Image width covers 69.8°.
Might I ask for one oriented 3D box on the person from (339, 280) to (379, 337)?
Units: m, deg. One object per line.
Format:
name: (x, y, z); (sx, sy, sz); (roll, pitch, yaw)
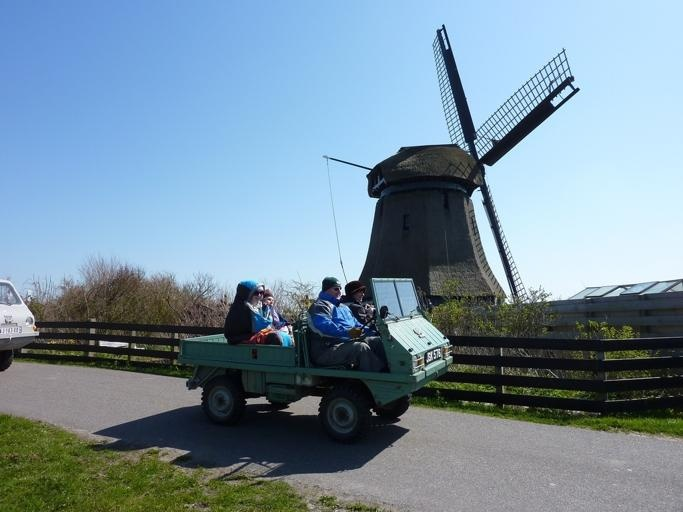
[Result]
person: (0.360, 1.053, 9.308); (0.596, 1.228, 0.792); (-17, 8, -21)

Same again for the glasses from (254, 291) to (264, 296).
glasses: (-1.563, 0.712, 9.334); (0.087, 0.099, 0.024); (6, 7, -39)

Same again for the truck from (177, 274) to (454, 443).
truck: (-0.374, 1.907, 9.218); (3.902, 2.672, 2.769); (-5, -7, 26)

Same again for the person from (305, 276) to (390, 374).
person: (0.076, 1.198, 8.559); (1.230, 1.745, 0.973); (-1, 7, 2)
